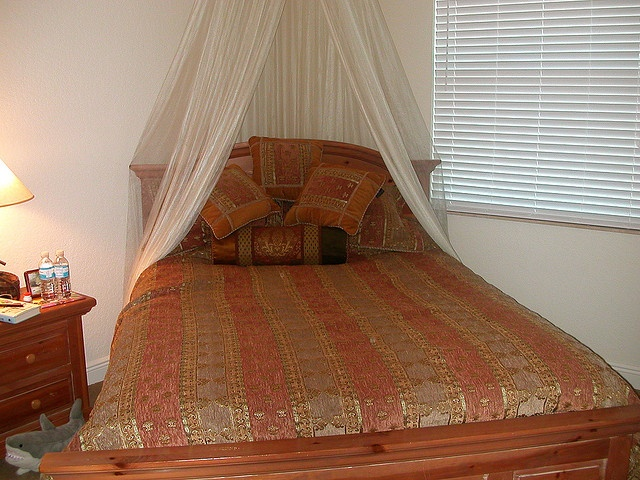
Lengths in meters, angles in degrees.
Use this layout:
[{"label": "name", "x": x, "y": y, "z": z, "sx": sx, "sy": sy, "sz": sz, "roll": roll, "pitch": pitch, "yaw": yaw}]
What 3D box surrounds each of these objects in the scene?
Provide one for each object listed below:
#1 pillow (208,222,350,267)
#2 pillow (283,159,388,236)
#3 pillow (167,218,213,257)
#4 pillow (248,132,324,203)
[{"label": "pillow", "x": -0.213, "y": 0.041, "z": 2.648, "sx": 0.758, "sy": 0.225, "sz": 0.216, "roll": -2, "pitch": -11, "yaw": -3}, {"label": "pillow", "x": 0.117, "y": -0.264, "z": 2.868, "sx": 0.582, "sy": 0.594, "sz": 0.147, "roll": 21, "pitch": -35, "yaw": 39}, {"label": "pillow", "x": -0.763, "y": -0.014, "z": 2.722, "sx": 0.247, "sy": 0.077, "sz": 0.215, "roll": -9, "pitch": -57, "yaw": -38}, {"label": "pillow", "x": -0.254, "y": -0.493, "z": 3.037, "sx": 0.573, "sy": 0.540, "sz": 0.151, "roll": 12, "pitch": -11, "yaw": -27}]
